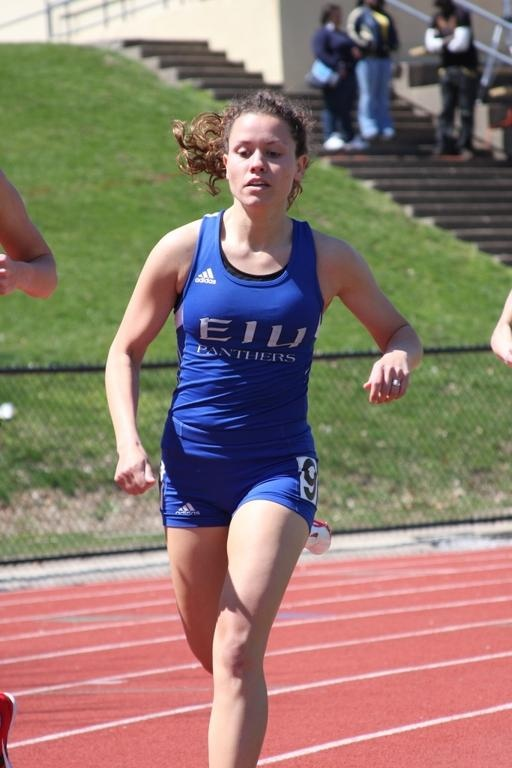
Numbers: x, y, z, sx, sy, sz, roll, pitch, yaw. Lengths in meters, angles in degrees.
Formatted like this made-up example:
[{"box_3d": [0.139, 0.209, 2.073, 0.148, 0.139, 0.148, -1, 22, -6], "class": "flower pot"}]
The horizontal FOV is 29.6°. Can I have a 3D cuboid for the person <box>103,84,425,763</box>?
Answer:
[{"box_3d": [-0.020, 0.050, 2.295, 0.629, 1.512, 0.778, 1, 3, 37], "class": "person"}]

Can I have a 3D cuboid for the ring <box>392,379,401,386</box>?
[{"box_3d": [0.327, -0.004, 2.254, 0.012, 0.015, 0.004, -1, -24, 6], "class": "ring"}]
